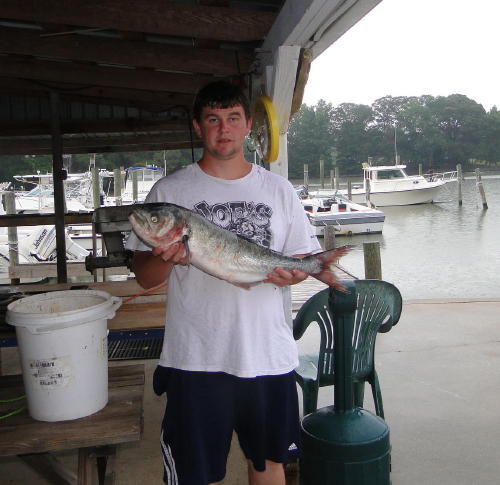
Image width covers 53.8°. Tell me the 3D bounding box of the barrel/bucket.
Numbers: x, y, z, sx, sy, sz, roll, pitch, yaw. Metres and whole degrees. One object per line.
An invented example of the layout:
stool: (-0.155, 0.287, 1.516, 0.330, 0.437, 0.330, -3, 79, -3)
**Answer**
barrel/bucket: (-0.835, 0.509, 2.416, 0.618, 0.479, 0.530, -3, 5, -34)
